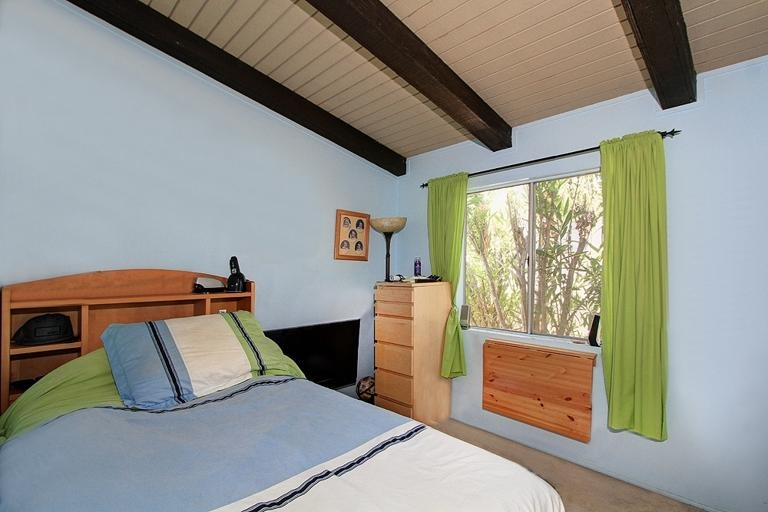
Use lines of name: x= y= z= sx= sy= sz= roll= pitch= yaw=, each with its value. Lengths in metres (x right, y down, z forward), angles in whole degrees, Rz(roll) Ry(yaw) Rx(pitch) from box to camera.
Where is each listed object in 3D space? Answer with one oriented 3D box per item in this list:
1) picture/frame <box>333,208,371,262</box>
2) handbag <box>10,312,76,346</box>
picture/frame: x=-0.377 y=-0.235 z=5.212 sx=0.040 sy=0.563 sz=0.569 roll=-6 pitch=-9 yaw=41
handbag: x=-2.502 y=0.537 z=3.469 sx=0.298 sy=0.106 sz=0.227 roll=-2 pitch=-1 yaw=13
